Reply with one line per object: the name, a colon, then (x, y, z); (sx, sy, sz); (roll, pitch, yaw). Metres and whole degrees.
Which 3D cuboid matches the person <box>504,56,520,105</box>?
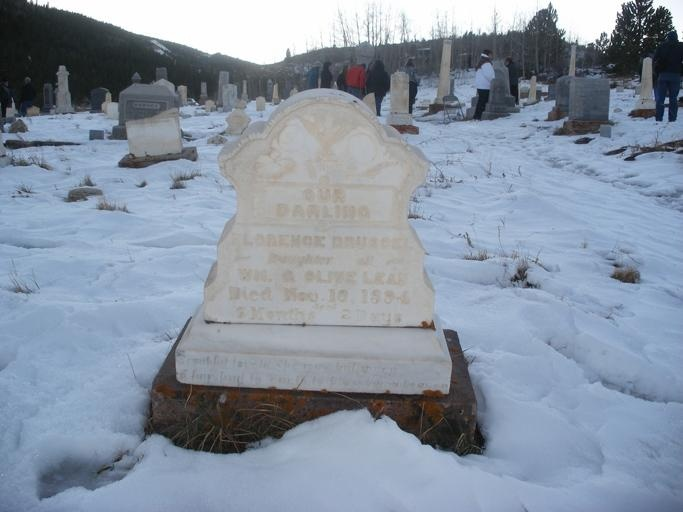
person: (5.424, -5.568, 18.635); (0.436, 1.456, 1.472); (3, 16, 15)
